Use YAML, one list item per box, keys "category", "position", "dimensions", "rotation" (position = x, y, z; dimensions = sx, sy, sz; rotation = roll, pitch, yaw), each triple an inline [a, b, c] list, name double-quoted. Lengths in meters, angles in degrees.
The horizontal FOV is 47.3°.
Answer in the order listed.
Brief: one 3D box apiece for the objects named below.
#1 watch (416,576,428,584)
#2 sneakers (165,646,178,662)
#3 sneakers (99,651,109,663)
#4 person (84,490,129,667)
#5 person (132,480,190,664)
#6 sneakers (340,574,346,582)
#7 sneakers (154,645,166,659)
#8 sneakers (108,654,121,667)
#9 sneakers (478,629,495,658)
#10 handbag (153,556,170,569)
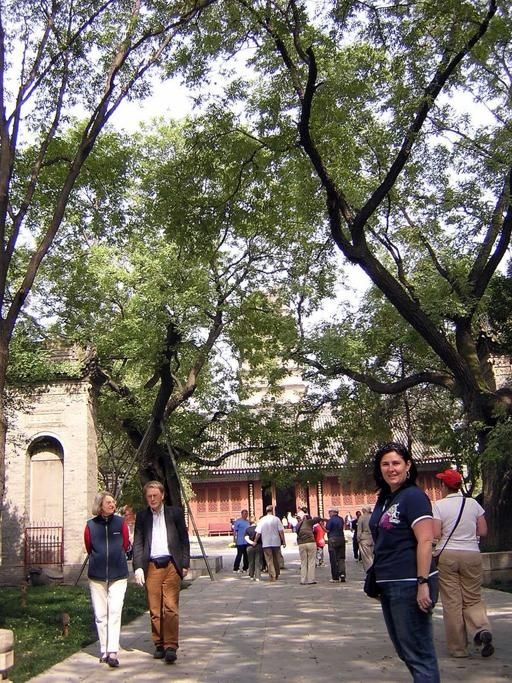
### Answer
- category: "watch"
  position: [0.737, 1.052, 2.589]
  dimensions: [0.041, 0.027, 0.035]
  rotation: [11, -16, -14]
- category: "sneakers"
  position: [-0.794, 2.926, 5.473]
  dimensions: [0.068, 0.073, 0.176]
  rotation: [1, -6, -1]
- category: "sneakers"
  position: [-1.436, 2.986, 5.515]
  dimensions: [0.069, 0.074, 0.195]
  rotation: [10, -10, -23]
- category: "person"
  position: [-1.483, 2.350, 5.827]
  dimensions: [0.433, 1.624, 0.868]
  rotation: [-1, -12, -14]
- category: "person"
  position: [-0.938, 2.237, 5.782]
  dimensions: [0.550, 1.677, 0.654]
  rotation: [-2, -12, -9]
- category: "sneakers"
  position: [2.142, 5.802, 14.356]
  dimensions: [0.087, 0.118, 0.253]
  rotation: [4, 3, 2]
- category: "sneakers"
  position: [-0.931, 3.057, 5.770]
  dimensions: [0.109, 0.143, 0.217]
  rotation: [5, -18, -5]
- category: "sneakers"
  position: [-1.315, 2.928, 5.370]
  dimensions: [0.074, 0.043, 0.121]
  rotation: [4, -4, -13]
- category: "sneakers"
  position: [1.982, 2.635, 5.047]
  dimensions: [0.117, 0.272, 0.127]
  rotation: [-5, 17, 8]
- category: "handbag"
  position: [-0.920, 2.171, 5.780]
  dimensions: [0.125, 0.101, 0.112]
  rotation: [1, -8, -21]
